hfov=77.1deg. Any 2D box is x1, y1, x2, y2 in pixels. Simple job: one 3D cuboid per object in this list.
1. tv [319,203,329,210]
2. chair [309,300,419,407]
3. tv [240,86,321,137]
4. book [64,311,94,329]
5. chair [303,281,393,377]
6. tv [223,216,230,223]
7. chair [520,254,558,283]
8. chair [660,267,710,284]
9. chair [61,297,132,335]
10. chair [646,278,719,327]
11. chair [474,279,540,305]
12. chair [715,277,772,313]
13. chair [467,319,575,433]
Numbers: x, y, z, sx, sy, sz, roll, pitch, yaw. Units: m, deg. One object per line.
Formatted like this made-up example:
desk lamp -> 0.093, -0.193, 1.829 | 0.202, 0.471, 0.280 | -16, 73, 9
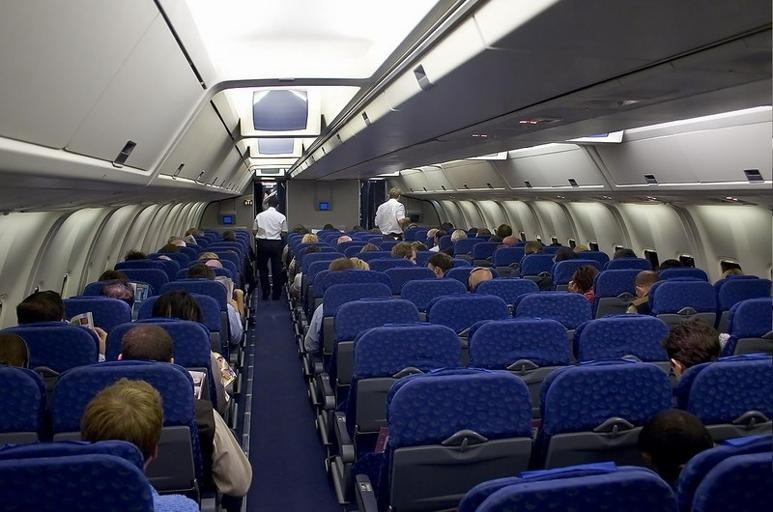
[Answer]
tv -> -2.650, -2.146, 20.943 | 0.455, 0.364, 0.059 | 1, -3, -7
chair -> -0.243, 0.839, 5.071 | 1.182, 1.073, 0.994 | 0, 7, -4
tv -> -2.104, -2.846, 9.874 | 1.514, 0.954, 0.787 | -2, 1, -7
book -> -2.884, 0.604, 4.566 | 0.180, 0.119, 0.019 | -7, -16, -1
chair -> -0.461, 0.790, 5.668 | 0.989, 1.200, 0.994 | 1, 4, -6
tv -> -7.403, -1.725, 22.727 | 0.356, 0.302, 0.315 | 1, 4, -5
chair -> 2.560, 0.173, 8.381 | 0.481, 0.570, 0.490 | 0, 12, -3
chair -> 4.037, 0.261, 6.613 | 0.267, 0.244, 0.233 | 2, 5, 2
chair -> -2.892, 0.566, 5.164 | 0.454, 0.384, 0.466 | -19, 1, -14
chair -> 3.436, 0.485, 5.769 | 0.761, 0.695, 0.562 | 0, 4, 2
chair -> 1.481, 0.400, 6.030 | 0.580, 0.209, 0.433 | 2, -4, 3
chair -> 3.896, 0.434, 5.302 | 0.587, 0.511, 0.298 | 0, 8, 3
chair -> 1.057, 0.975, 4.209 | 1.027, 0.855, 0.827 | 2, -6, -14
